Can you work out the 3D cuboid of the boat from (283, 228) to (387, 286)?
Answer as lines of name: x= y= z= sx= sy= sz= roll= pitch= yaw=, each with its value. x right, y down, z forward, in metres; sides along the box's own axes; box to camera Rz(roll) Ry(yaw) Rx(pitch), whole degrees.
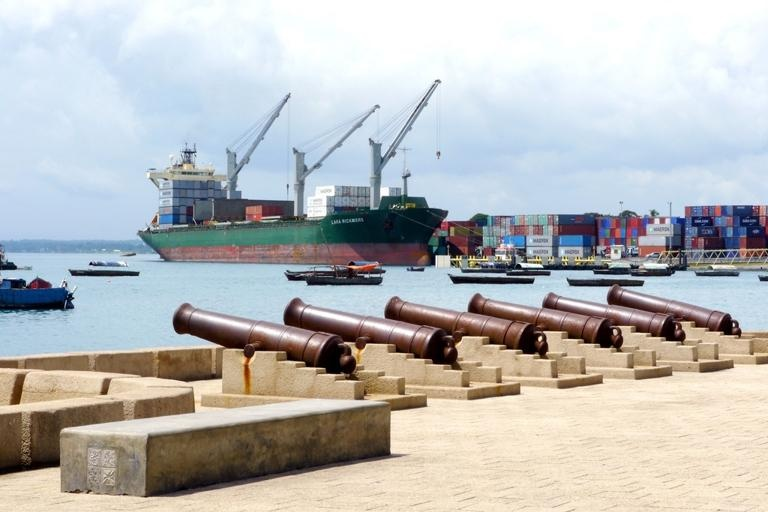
boat: x=-3.889 y=-0.106 z=85.894 sx=15.594 sy=4.971 sz=5.111 roll=0 pitch=-1 yaw=23

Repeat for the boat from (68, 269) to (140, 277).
boat: x=-27.252 y=1.573 z=98.062 sx=3.698 sy=0.679 sz=6.811 roll=-2 pitch=-1 yaw=27

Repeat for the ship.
ship: x=-10.634 y=-7.139 z=106.507 sx=10.622 sy=16.071 sz=42.909 roll=-1 pitch=1 yaw=-44
